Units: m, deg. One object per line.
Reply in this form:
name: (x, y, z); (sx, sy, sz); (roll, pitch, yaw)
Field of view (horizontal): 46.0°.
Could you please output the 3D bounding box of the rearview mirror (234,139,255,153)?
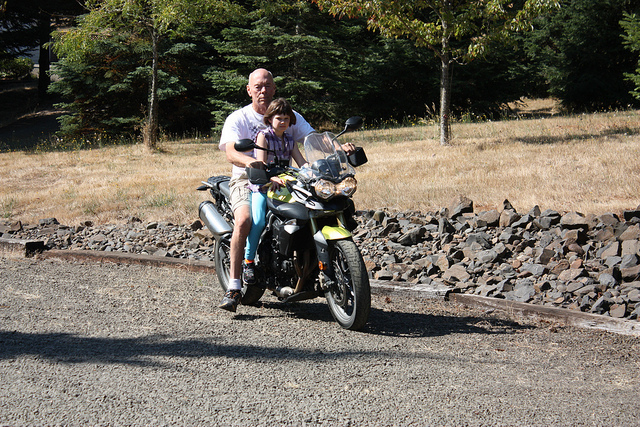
rearview mirror: (-1.080, -0.958, 10.627); (0.237, 0.117, 0.176); (2, 11, 40)
